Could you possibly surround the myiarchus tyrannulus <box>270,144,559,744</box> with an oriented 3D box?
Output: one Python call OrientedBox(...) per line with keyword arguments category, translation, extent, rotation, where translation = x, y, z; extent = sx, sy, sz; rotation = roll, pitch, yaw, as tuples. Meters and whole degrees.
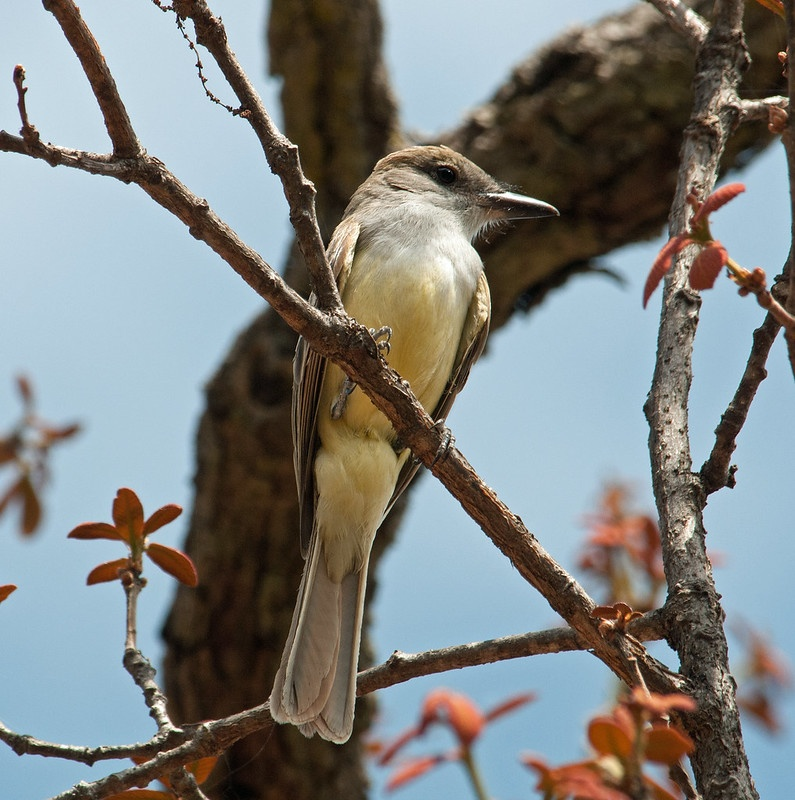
OrientedBox(category="myiarchus tyrannulus", translation=(-0.060, 0.016, 5.426), extent=(0.915, 1.372, 2.213), rotation=(1, -84, -9))
